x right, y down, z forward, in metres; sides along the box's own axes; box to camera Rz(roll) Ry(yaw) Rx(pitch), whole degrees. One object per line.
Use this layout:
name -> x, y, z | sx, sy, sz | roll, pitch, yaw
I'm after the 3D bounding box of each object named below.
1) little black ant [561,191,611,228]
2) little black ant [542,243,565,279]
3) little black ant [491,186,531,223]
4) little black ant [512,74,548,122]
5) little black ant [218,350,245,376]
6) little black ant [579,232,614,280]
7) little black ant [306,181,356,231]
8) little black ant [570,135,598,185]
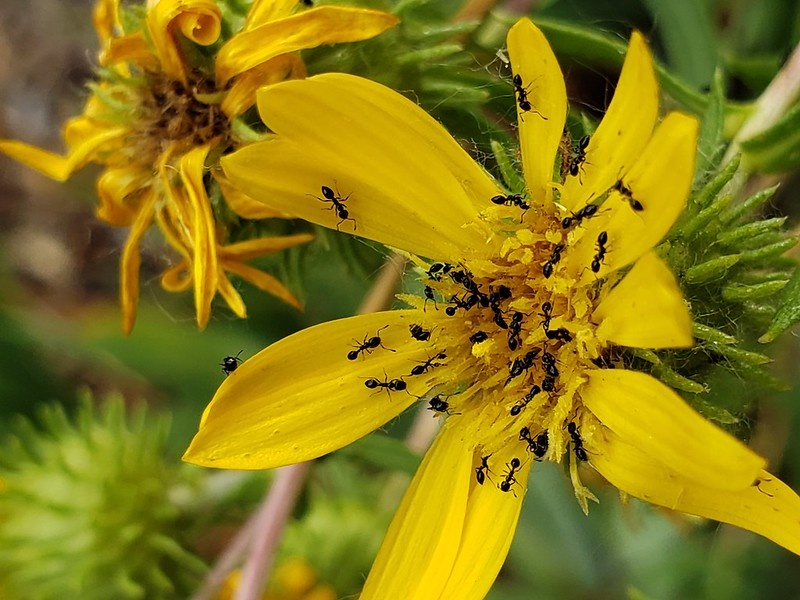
little black ant -> 0.166, -0.078, 0.738 | 0.036, 0.011, 0.023 | -31, 56, 19
little black ant -> 0.140, -0.038, 0.754 | 0.029, 0.009, 0.022 | -56, 34, -4
little black ant -> 0.103, -0.091, 0.767 | 0.031, 0.010, 0.023 | 9, 96, 29
little black ant -> 0.123, -0.184, 0.768 | 0.029, 0.041, 0.012 | 3, 32, 48
little black ant -> -0.186, 0.072, 0.934 | 0.033, 0.035, 0.017 | -32, 89, -17
little black ant -> 0.172, -0.041, 0.721 | 0.022, 0.032, 0.010 | 32, 35, 32
little black ant -> -0.059, -0.087, 0.772 | 0.030, 0.042, 0.013 | -36, 19, 6
little black ant -> 0.161, -0.128, 0.760 | 0.012, 0.043, 0.031 | -3, 31, -19
